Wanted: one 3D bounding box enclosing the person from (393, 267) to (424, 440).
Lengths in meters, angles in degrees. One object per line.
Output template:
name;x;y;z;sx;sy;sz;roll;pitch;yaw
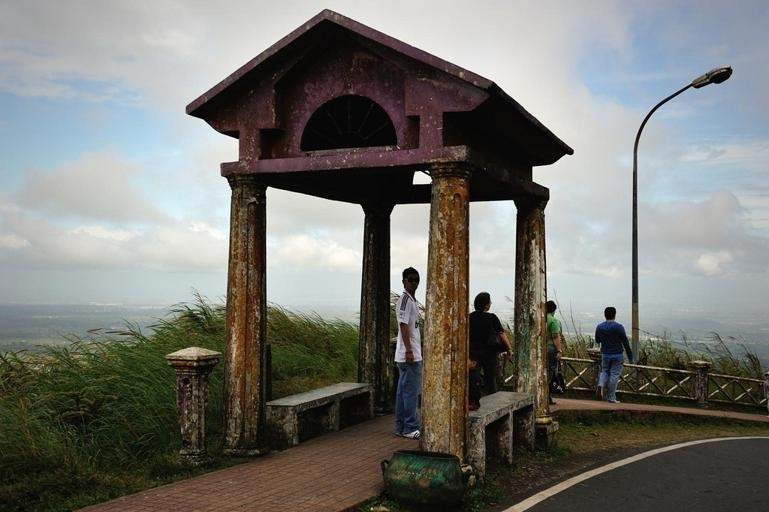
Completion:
person;0.398;1.652;9.129;0.462;2.879;0.828;2;-3;1

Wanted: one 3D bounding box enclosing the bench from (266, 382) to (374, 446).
bench;-1.121;2.755;9.608;0.485;0.790;2.293;0;-4;35

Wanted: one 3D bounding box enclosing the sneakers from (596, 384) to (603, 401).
sneakers;5.661;3.591;14.369;0.137;0.477;0.174;-2;11;19

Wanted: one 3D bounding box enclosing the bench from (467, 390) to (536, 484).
bench;1.912;2.756;9.095;0.504;0.762;1.726;6;8;43
